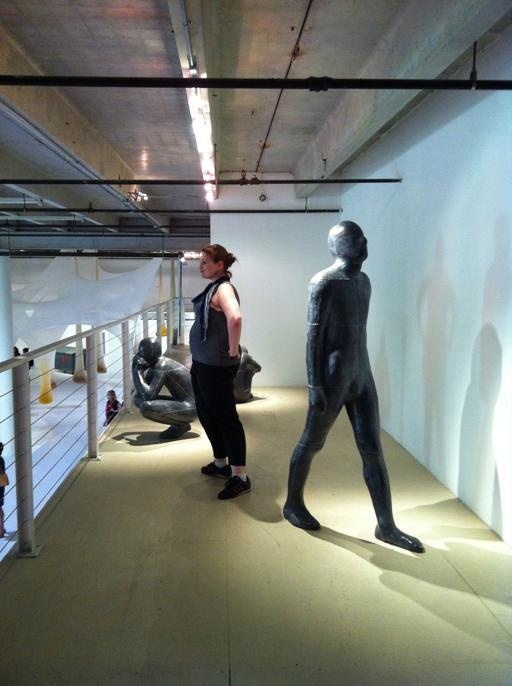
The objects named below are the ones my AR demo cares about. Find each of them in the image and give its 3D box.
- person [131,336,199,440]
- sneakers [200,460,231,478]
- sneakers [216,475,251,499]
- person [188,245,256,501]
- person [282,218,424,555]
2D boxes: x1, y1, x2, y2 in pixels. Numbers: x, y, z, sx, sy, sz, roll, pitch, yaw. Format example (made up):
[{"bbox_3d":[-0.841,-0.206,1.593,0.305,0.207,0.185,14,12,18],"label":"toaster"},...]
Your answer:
[{"bbox_3d":[-0.729,0.357,3.756,0.529,0.786,0.533,0,-1,7],"label":"person"},{"bbox_3d":[-0.251,0.800,3.011,0.188,0.080,0.080,3,0,33],"label":"sneakers"},{"bbox_3d":[-0.116,0.814,2.708,0.076,0.097,0.223,-4,-7,34],"label":"sneakers"},{"bbox_3d":[-0.195,0.143,2.718,0.371,1.420,0.616,1,4,-6],"label":"person"},{"bbox_3d":[0.441,0.175,2.208,0.597,1.462,0.315,1,4,4],"label":"person"}]
